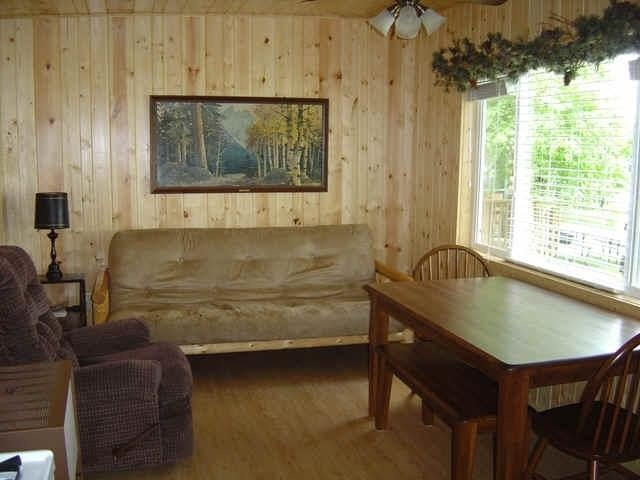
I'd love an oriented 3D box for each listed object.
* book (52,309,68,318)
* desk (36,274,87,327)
[{"bbox_3d":[-2.147,0.609,4.465,0.126,0.030,0.118,1,5,-12],"label":"book"},{"bbox_3d":[-2.099,0.480,4.546,0.436,0.439,0.430,-1,4,-15],"label":"desk"}]
